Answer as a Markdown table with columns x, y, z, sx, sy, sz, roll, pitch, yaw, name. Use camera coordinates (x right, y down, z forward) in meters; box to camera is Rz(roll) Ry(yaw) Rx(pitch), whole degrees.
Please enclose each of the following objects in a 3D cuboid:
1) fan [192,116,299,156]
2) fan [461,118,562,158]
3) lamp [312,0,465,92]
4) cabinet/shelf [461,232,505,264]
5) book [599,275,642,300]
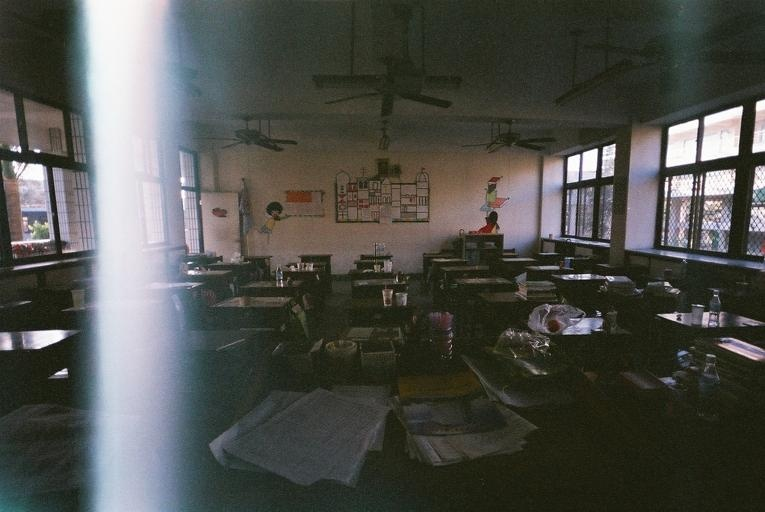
| x | y | z | sx | sy | sz | roll | pitch | yaw | name |
| --- | --- | --- | --- | --- | --- | --- | --- | --- | --- |
| -2.126 | -2.076 | 9.641 | 0.968 | 0.382 | 1.067 | 2 | 8 | -24 | fan |
| 2.245 | -2.172 | 10.124 | 1.531 | 0.462 | 1.252 | -13 | 22 | 3 | fan |
| 0.068 | -2.657 | 7.255 | 1.778 | 1.226 | 1.060 | 0 | 6 | 9 | lamp |
| 2.051 | -0.101 | 11.744 | 0.953 | 0.758 | 0.530 | 7 | 4 | -2 | cabinet/shelf |
| 3.072 | 0.408 | 7.547 | 0.361 | 0.124 | 0.333 | 2 | 9 | 5 | book |
